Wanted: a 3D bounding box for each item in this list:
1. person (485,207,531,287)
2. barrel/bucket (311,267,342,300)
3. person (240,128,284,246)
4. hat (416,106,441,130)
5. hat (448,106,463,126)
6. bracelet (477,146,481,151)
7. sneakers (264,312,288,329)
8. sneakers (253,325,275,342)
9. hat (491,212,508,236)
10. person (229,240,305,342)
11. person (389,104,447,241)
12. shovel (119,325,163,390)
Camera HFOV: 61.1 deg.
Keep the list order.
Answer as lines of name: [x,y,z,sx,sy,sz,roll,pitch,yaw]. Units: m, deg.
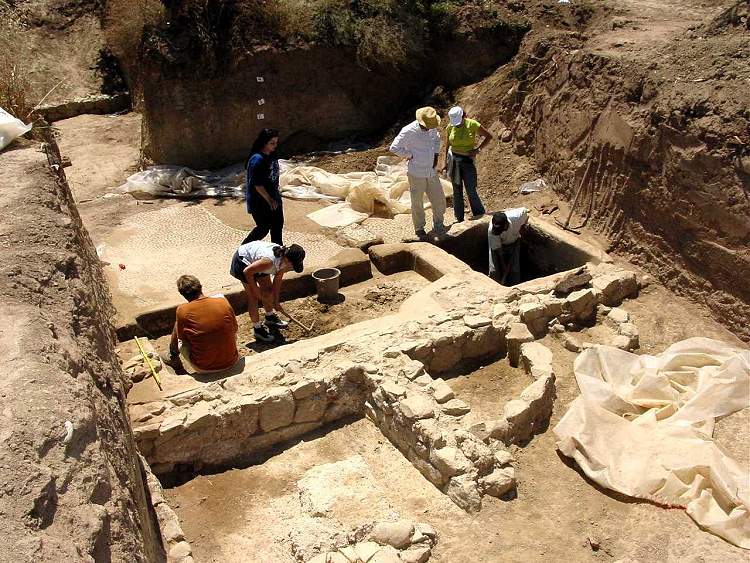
person: [1.565,-0.434,7.511,0.421,0.962,0.425,7,36,10]
barrel/bucket: [-0.546,0.011,7.168,0.345,0.258,0.315,-2,30,1]
person: [-1.261,-0.973,6.976,0.475,1.354,0.638,-6,36,-7]
hat: [0.669,-1.941,7.643,0.262,0.267,0.295,15,38,22]
hat: [1.021,-2.057,7.991,0.194,0.224,0.190,14,38,20]
bracelet: [1.355,-1.698,8.179,0.056,0.015,0.048,-21,34,21]
sneakers: [-1.038,0.388,6.600,0.270,0.175,0.118,-8,22,-20]
sneakers: [-1.109,0.510,6.434,0.266,0.148,0.111,12,27,29]
hat: [1.432,-0.651,7.189,0.193,0.236,0.226,1,46,20]
person: [-1.045,0.051,6.313,0.857,1.035,0.521,17,30,22]
person: [0.570,-1.341,7.928,0.663,1.582,0.511,-5,36,-6]
shovel: [-2.107,0.563,5.663,0.360,0.091,0.877,-13,29,-24]
